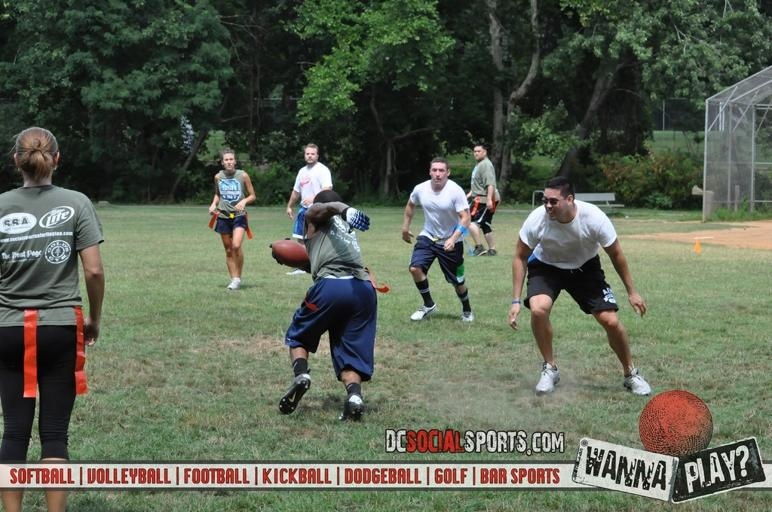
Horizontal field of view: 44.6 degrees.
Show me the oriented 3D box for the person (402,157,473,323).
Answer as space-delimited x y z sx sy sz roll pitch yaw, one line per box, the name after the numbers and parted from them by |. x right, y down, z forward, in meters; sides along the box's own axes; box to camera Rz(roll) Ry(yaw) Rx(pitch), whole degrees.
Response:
0.792 -0.265 14.180 1.086 2.381 1.383 2 15 1 | person

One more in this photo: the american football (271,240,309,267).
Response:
-1.128 -0.030 10.967 0.458 0.254 0.256 16 44 -4 | american football

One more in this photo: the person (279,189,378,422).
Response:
-0.702 0.464 10.823 1.295 2.358 1.129 0 0 0 | person

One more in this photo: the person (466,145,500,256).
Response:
1.931 -1.173 20.409 0.953 2.414 0.787 1 3 17 | person

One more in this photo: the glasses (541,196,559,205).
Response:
1.880 -0.635 10.878 0.096 0.082 0.204 -12 20 -43 | glasses

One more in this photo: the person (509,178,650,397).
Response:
2.271 0.305 11.190 1.538 2.501 0.765 3 15 7 | person

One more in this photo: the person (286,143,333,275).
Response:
-1.518 -0.815 17.349 0.994 2.407 0.805 1 -2 39 | person
